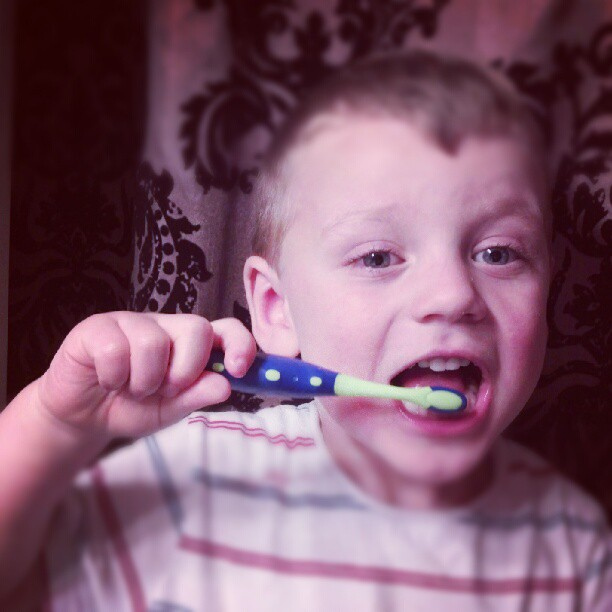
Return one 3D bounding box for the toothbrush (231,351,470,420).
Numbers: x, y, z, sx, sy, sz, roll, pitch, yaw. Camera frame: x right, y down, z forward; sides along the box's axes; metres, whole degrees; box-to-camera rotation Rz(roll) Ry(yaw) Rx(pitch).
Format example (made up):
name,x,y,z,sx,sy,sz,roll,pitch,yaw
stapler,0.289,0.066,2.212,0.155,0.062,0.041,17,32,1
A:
name,x,y,z,sx,sy,sz,roll,pitch,yaw
toothbrush,0.051,0.070,0.691,0.228,0.040,0.042,5,38,12
